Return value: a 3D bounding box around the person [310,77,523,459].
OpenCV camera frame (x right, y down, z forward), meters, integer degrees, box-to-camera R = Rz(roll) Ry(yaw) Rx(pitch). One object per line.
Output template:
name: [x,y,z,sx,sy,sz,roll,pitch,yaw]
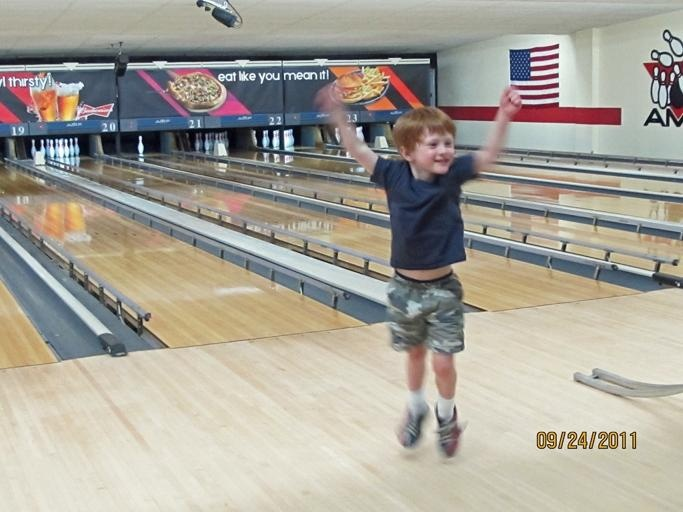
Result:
person: [0.202,0.056,1.232,0.518,1.035,0.191,1,10,19]
